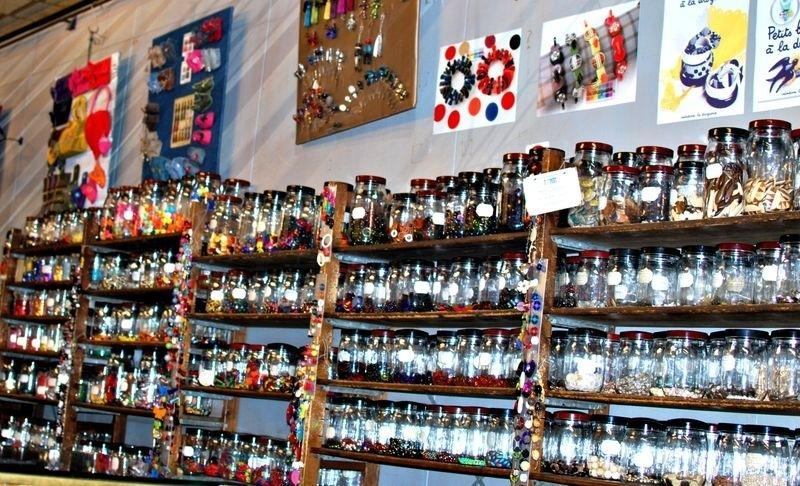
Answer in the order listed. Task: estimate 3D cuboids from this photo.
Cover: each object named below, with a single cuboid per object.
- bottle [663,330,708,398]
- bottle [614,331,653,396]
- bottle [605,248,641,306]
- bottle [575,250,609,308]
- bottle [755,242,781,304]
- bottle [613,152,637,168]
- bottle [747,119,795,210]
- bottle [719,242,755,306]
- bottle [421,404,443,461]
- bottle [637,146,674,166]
[{"bbox_3d":[1.579,0.666,4.658,0.248,0.360,0.067,-4,-14,15],"label":"bottle"},{"bbox_3d":[1.332,0.686,4.801,0.225,0.350,0.087,-3,-14,13],"label":"bottle"},{"bbox_3d":[1.287,0.202,4.841,0.197,0.321,0.074,-3,-14,14],"label":"bottle"},{"bbox_3d":[1.127,0.210,4.919,0.200,0.322,0.087,-4,-14,15],"label":"bottle"},{"bbox_3d":[1.979,0.161,4.533,0.157,0.318,0.063,-6,-15,25],"label":"bottle"},{"bbox_3d":[1.346,-0.496,5.002,0.102,0.077,0.104,1,-10,0],"label":"bottle"},{"bbox_3d":[2.023,-0.417,4.626,0.275,0.515,0.108,-6,-15,23],"label":"bottle"},{"bbox_3d":[1.837,0.164,4.593,0.202,0.323,0.079,-5,-14,19],"label":"bottle"},{"bbox_3d":[0.210,1.194,5.290,0.149,0.325,0.038,-12,-18,41],"label":"bottle"},{"bbox_3d":[1.526,-0.511,5.010,0.139,0.092,0.145,1,-1,0],"label":"bottle"}]
